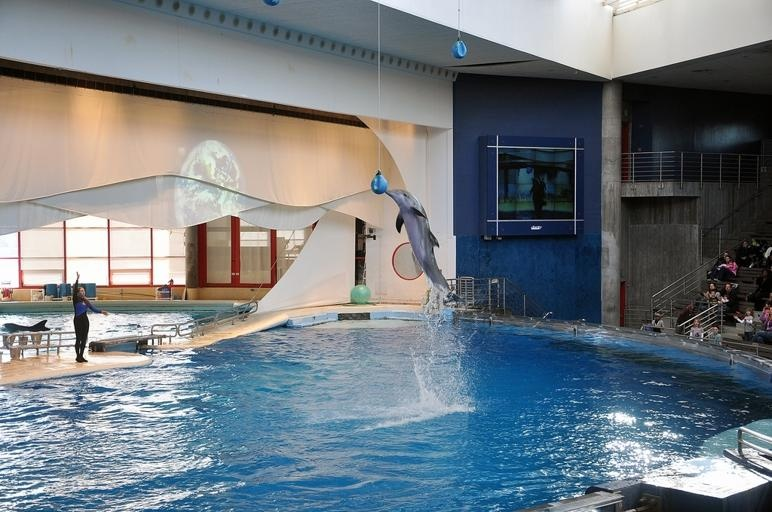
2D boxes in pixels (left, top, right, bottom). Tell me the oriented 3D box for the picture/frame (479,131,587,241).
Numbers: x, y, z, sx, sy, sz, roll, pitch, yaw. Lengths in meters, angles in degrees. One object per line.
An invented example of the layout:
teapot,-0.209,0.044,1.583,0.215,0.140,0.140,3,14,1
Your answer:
picture/frame,4.371,-2.104,18.520,3.247,2.860,1.046,-1,2,-11

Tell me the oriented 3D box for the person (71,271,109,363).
person,-5.673,1.181,11.474,0.543,1.597,0.767,-8,-9,12

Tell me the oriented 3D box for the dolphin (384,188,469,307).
dolphin,0.513,-0.331,10.404,1.158,2.116,1.048,5,5,-13

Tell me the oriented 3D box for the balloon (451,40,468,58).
balloon,1.466,-4.119,12.129,0.250,0.385,0.707,0,7,2
